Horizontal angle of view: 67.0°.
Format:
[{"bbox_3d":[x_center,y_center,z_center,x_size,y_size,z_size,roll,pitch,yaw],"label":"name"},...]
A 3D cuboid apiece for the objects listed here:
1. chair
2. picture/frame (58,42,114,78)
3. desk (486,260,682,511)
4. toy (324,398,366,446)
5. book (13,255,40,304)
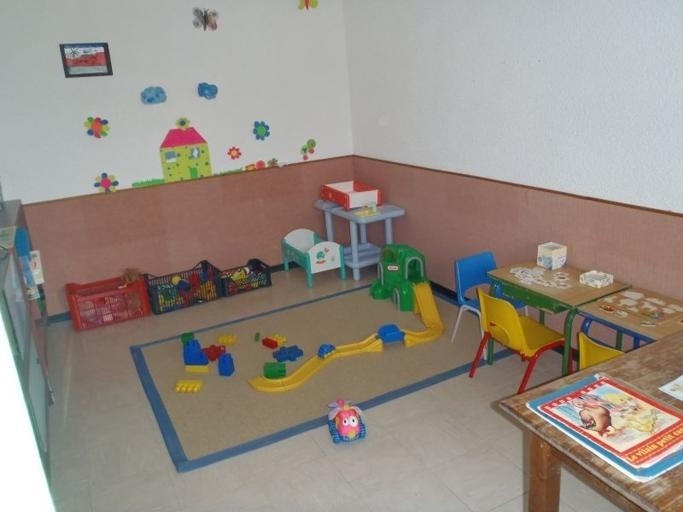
[{"bbox_3d":[1.223,0.478,3.650,0.551,0.889,0.479,-23,34,-21],"label":"chair"},{"bbox_3d":[-2.271,-1.740,4.540,0.314,0.243,0.014,-10,21,-21],"label":"picture/frame"},{"bbox_3d":[1.271,0.655,2.702,0.670,0.884,0.892,-14,29,-18],"label":"desk"},{"bbox_3d":[0.030,1.054,3.334,0.253,0.194,0.208,-8,17,-6],"label":"toy"},{"bbox_3d":[-2.236,0.157,3.654,0.049,0.454,0.314,-20,17,-28],"label":"book"}]
